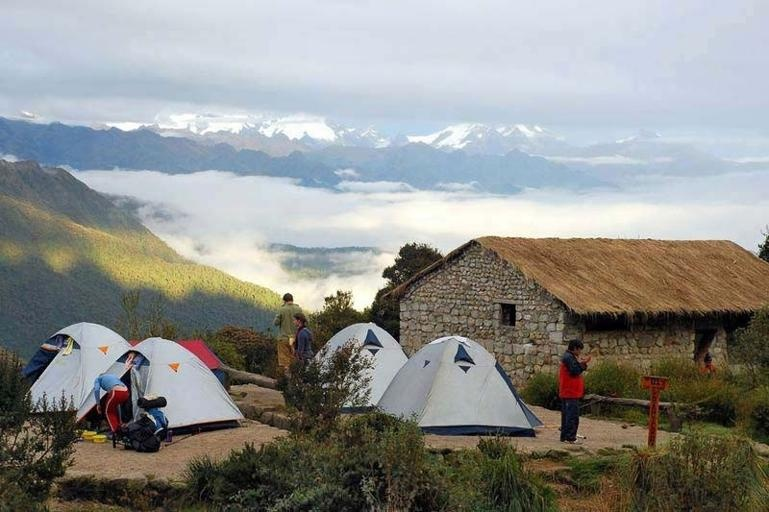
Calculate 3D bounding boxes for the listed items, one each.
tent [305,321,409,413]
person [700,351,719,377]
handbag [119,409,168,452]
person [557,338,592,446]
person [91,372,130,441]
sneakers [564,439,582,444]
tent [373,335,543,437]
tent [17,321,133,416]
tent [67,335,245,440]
[{"bbox_3d":[-0.334,3.042,23.756,2.059,1.371,2.130,0,7,3],"label":"tent"},{"bbox_3d":[10.346,3.402,27.799,0.561,1.091,0.572,2,3,41],"label":"person"},{"bbox_3d":[-5.669,4.055,20.337,0.949,0.765,0.940,5,50,-5],"label":"handbag"},{"bbox_3d":[4.398,3.113,20.545,0.570,2.371,0.767,5,6,14],"label":"person"},{"bbox_3d":[-6.460,3.556,20.937,1.007,1.440,0.591,8,7,32],"label":"person"},{"bbox_3d":[4.422,4.298,20.392,0.407,0.185,0.142,-1,6,-3],"label":"sneakers"},{"bbox_3d":[1.868,3.399,21.773,2.644,1.678,3.033,2,-5,-11],"label":"tent"},{"bbox_3d":[-8.130,2.476,23.810,3.622,1.398,3.119,-6,20,-20],"label":"tent"},{"bbox_3d":[-5.158,3.144,21.839,2.528,1.550,2.778,2,-3,-36],"label":"tent"}]
